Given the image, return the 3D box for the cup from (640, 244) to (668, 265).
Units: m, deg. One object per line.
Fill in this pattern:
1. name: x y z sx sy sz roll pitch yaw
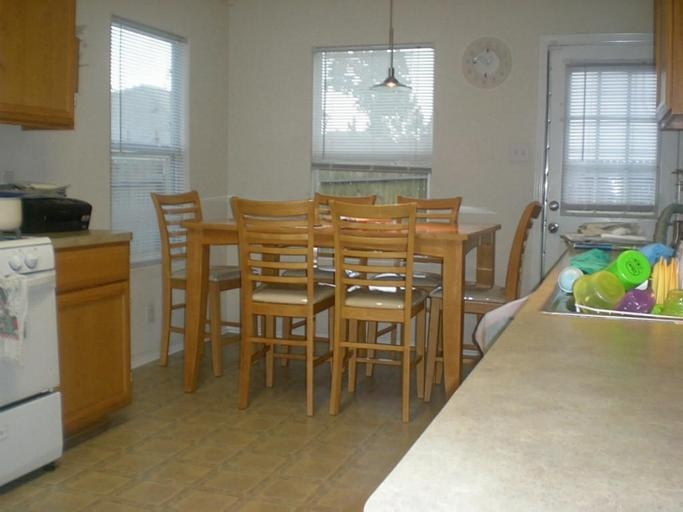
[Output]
1. cup: 0.896 -0.007 1.563 0.089 0.056 0.033 12 6 -37

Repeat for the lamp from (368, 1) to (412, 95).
1. lamp: 0.396 -1.659 4.240 0.293 0.838 0.897 1 7 5

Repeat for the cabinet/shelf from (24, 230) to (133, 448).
1. cabinet/shelf: -1.268 0.356 2.813 0.157 0.942 0.494 2 7 15

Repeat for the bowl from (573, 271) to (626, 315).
1. bowl: 0.580 0.078 1.236 0.089 0.091 0.086 3 -33 2

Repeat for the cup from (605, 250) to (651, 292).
1. cup: 0.678 0.044 1.343 0.098 0.102 0.112 -9 -7 23
